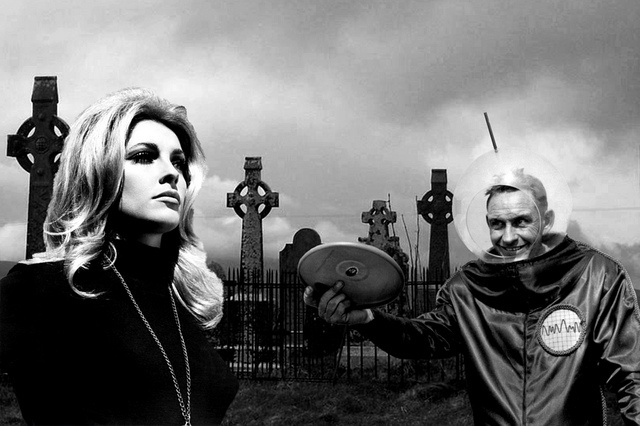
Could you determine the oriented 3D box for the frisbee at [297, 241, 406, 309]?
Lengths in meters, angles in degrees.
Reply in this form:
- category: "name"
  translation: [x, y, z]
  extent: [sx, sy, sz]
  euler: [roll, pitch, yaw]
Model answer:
- category: "frisbee"
  translation: [0.176, 0.371, 4.346]
  extent: [0.599, 0.488, 0.458]
  euler: [-1, 9, -5]
